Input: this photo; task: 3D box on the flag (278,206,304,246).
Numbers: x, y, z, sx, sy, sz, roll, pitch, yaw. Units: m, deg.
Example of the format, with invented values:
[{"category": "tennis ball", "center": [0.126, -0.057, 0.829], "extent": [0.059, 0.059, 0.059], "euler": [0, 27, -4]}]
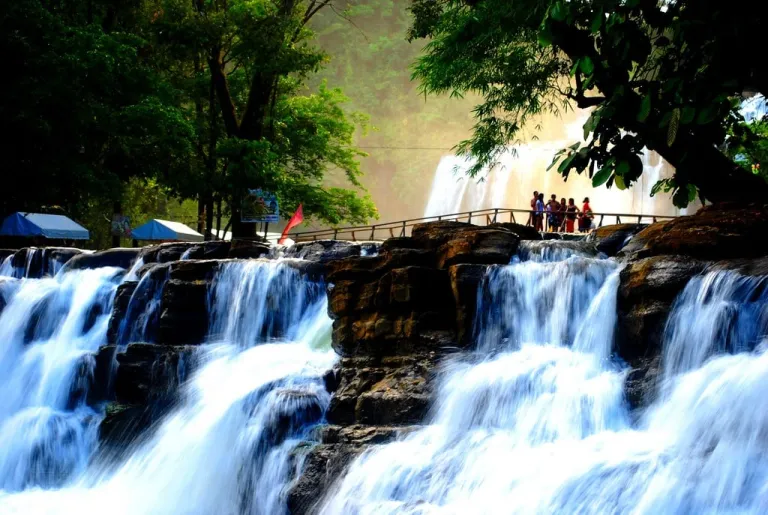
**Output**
[{"category": "flag", "center": [-4.067, -1.346, 31.340], "extent": [0.583, 2.999, 0.230], "euler": [6, -46, 18]}]
